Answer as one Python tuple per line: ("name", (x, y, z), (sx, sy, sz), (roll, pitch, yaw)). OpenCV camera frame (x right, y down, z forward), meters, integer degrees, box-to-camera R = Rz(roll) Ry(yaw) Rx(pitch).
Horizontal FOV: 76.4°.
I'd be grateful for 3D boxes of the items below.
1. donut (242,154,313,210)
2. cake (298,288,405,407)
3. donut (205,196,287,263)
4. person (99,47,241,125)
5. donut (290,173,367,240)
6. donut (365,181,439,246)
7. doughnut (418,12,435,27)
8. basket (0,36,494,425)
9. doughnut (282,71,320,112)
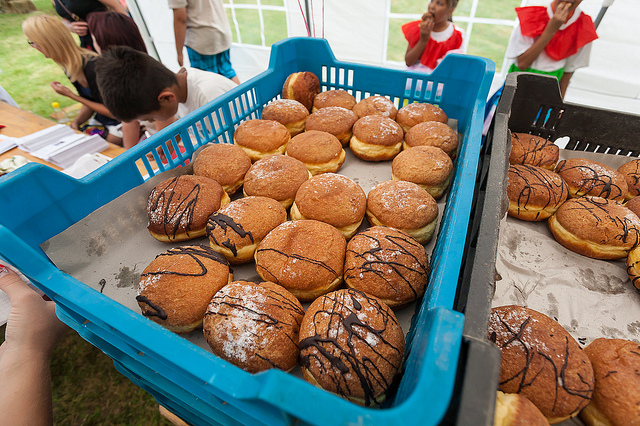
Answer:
("donut", (-0.281, -0.205, 2.709), (0.385, 0.188, 0.380), (-3, 56, 0))
("cake", (0.155, 0.685, 2.134), (0.545, 0.352, 0.470), (13, 45, 14))
("donut", (-0.428, 0.058, 2.495), (0.459, 0.199, 0.348), (-33, 59, -28))
("person", (-1.220, -1.046, 3.254), (0.769, 0.464, 1.078), (26, 33, 32))
("donut", (0.060, -0.044, 2.608), (0.447, 0.225, 0.420), (3, 61, 3))
("donut", (0.496, 0.031, 2.605), (0.419, 0.220, 0.401), (6, 48, 6))
("doughnut", (0.989, -1.808, 3.779), (0.122, 0.114, 0.095), (15, 46, 16))
("basket", (-0.039, 0.375, 3.190), (2.526, 0.953, 3.010), (17, 46, 19))
("doughnut", (-0.132, -0.990, 3.276), (0.262, 0.258, 0.065), (0, 76, -23))
